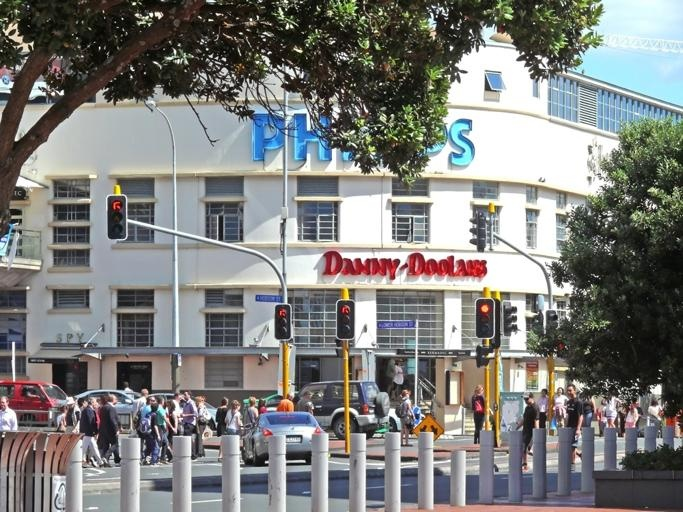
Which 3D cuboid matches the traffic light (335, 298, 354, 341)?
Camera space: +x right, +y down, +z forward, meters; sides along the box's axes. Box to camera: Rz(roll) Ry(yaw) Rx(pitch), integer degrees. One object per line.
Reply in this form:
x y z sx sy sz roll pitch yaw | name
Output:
0.146 1.748 47.537 0.442 1.146 0.419 0 -7 5 | traffic light

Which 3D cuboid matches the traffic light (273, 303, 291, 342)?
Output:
-1.667 1.912 51.085 0.453 1.037 0.500 0 -7 6 | traffic light

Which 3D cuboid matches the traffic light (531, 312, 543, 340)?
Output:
6.532 2.329 57.487 0.578 0.624 1.535 15 -6 9 | traffic light

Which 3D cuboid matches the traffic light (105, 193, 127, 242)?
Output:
-6.526 -1.127 50.965 0.541 1.295 0.408 1 -7 1 | traffic light

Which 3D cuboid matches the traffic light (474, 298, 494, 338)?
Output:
4.192 1.777 49.962 0.516 1.149 0.770 0 -7 7 | traffic light

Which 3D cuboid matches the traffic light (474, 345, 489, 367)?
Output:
4.194 2.908 51.155 0.516 0.982 0.839 1 1 3 | traffic light
